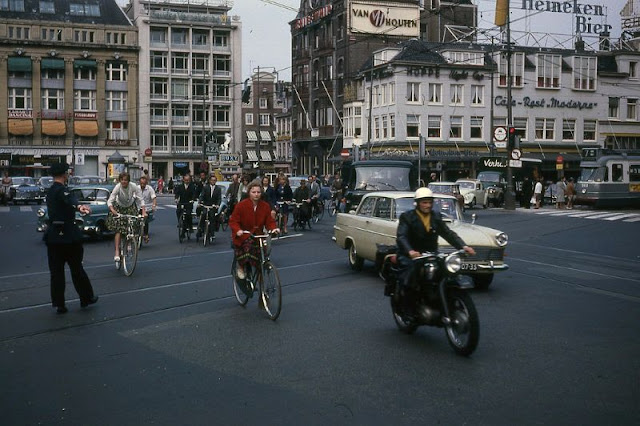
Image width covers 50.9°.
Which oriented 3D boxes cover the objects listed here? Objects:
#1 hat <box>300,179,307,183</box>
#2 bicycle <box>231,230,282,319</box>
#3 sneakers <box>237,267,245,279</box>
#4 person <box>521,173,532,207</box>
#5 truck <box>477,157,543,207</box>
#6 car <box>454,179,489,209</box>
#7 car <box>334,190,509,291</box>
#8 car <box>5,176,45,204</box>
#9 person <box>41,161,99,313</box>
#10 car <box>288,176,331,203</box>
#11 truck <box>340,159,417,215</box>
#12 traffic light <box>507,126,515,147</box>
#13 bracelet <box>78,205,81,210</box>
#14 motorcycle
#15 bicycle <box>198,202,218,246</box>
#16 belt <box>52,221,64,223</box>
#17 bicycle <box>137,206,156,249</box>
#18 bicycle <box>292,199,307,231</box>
[{"bbox_3d":[-0.734,-1.416,29.491,0.422,0.168,0.457,-2,6,-11],"label":"hat"},{"bbox_3d":[-1.387,1.224,12.635,0.732,1.175,1.720,1,2,-24],"label":"bicycle"},{"bbox_3d":[-1.514,1.125,12.865,0.082,0.279,0.104,-10,-21,-16],"label":"sneakers"},{"bbox_3d":[12.761,-1.279,41.520,0.446,1.816,1.296,0,6,14],"label":"person"},{"bbox_3d":[13.033,-2.426,46.509,5.153,3.641,2.987,0,0,-23],"label":"truck"},{"bbox_3d":[9.266,-1.212,41.344,1.250,1.191,2.229,-1,-1,35],"label":"car"},{"bbox_3d":[2.150,0.411,15.859,1.797,1.705,4.146,-1,3,-27],"label":"car"},{"bbox_3d":[-19.461,-1.490,44.132,1.413,1.258,2.514,-3,4,-32],"label":"car"},{"bbox_3d":[-4.776,0.452,12.668,0.783,2.756,0.496,-4,6,-26],"label":"person"},{"bbox_3d":[-0.529,-1.601,42.061,2.425,1.396,1.509,0,3,-18],"label":"car"},{"bbox_3d":[2.041,-1.055,25.489,1.549,1.649,2.597,0,0,-11],"label":"truck"},{"bbox_3d":[9.997,-3.925,35.212,0.411,1.121,0.896,1,6,16],"label":"traffic light"},{"bbox_3d":[-4.421,-0.112,12.395,0.074,0.080,0.074,-2,0,-44],"label":"bracelet"},{"bbox_3d":[1.775,1.360,10.887,0.577,1.536,1.886,-5,7,-32],"label":"motorcycle"},{"bbox_3d":[-3.678,0.361,22.078,0.653,1.304,1.166,-2,6,-11],"label":"bicycle"},{"bbox_3d":[-4.848,0.167,12.478,0.192,0.051,0.037,-3,6,-11],"label":"belt"},{"bbox_3d":[-5.275,0.496,20.231,0.768,1.136,1.680,-1,1,-15],"label":"bicycle"},{"bbox_3d":[-0.845,0.091,27.101,0.676,1.092,0.654,-5,7,-30],"label":"bicycle"}]
